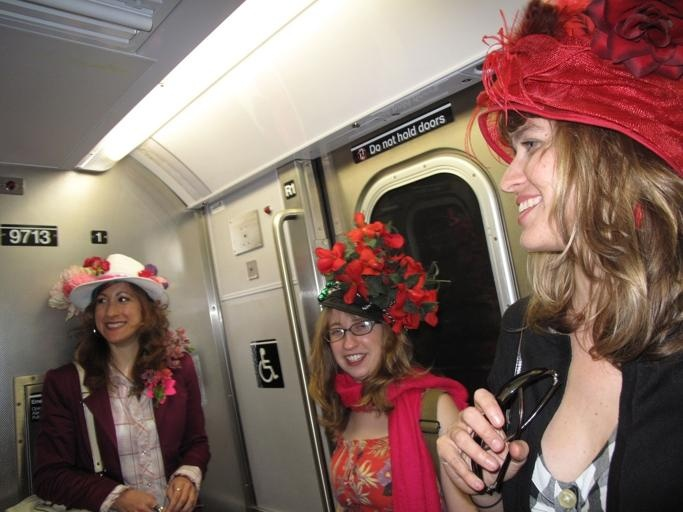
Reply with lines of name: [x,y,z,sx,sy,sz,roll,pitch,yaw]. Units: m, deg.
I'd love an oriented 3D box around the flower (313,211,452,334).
flower: [0.063,0.151,2.324,0.493,0.395,0.624,-23,-26,23]

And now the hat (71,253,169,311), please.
hat: [-1.262,0.135,2.822,0.370,0.182,0.398,-33,-38,26]

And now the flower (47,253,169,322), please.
flower: [-1.293,0.157,2.894,0.441,0.215,0.492,-28,-23,19]
